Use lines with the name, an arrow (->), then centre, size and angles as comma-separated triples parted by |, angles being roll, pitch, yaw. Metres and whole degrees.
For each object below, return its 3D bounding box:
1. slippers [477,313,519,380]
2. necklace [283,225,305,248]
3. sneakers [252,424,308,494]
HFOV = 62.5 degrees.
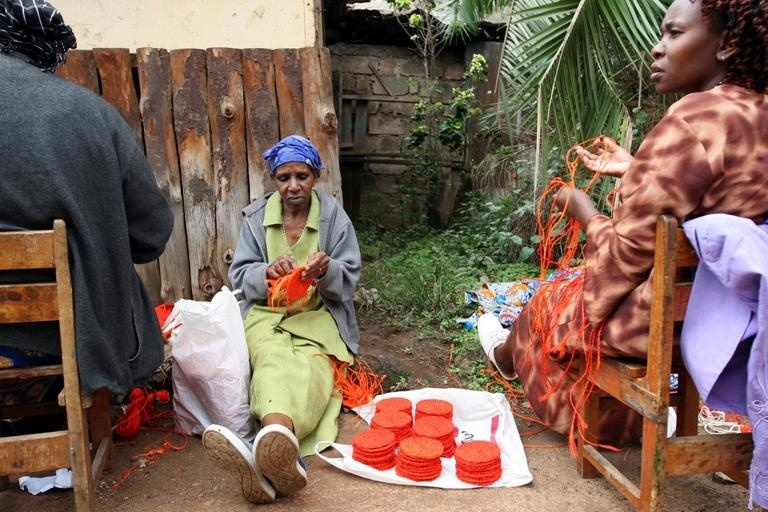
slippers -> 0.694, 0.539, 4.028 | 0.151, 0.175, 0.434 | -21, 49, 1
necklace -> -0.565, -0.115, 3.915 | 0.112, 0.150, 0.041 | -3, -1, 3
sneakers -> -0.481, 0.936, 3.003 | 0.182, 0.368, 0.167 | -6, 29, 6
